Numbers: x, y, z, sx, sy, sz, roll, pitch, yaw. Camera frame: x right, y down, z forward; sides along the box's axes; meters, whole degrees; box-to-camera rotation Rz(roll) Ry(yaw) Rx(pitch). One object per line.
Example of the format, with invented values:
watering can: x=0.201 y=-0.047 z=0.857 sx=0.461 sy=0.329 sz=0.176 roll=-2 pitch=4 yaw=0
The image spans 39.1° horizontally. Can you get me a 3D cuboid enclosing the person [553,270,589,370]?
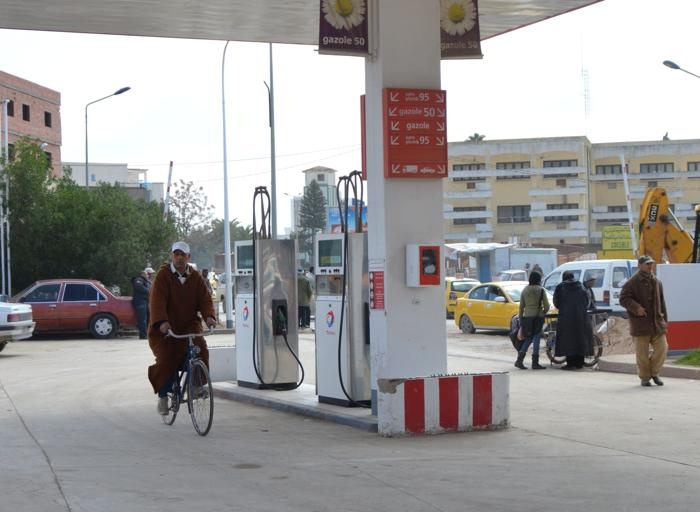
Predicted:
person: x=4.686 y=1.386 z=21.030 sx=0.684 sy=1.990 sz=0.837 roll=1 pitch=3 yaw=7

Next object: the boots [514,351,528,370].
boots: x=3.673 y=2.258 z=21.056 sx=0.241 sy=0.328 sz=0.653 roll=-1 pitch=-1 yaw=8

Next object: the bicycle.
bicycle: x=-2.165 y=1.793 z=14.303 sx=0.757 sy=1.584 sz=1.192 roll=2 pitch=-1 yaw=-17

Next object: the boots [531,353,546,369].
boots: x=4.065 y=2.283 z=20.898 sx=0.397 sy=0.415 sz=0.202 roll=-2 pitch=3 yaw=-21

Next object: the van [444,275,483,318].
van: x=4.011 y=1.579 z=34.825 sx=1.310 sy=1.252 sz=2.382 roll=0 pitch=4 yaw=5

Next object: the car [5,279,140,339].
car: x=-8.628 y=1.422 z=31.477 sx=4.758 sy=1.727 sz=3.898 roll=3 pitch=5 yaw=-10

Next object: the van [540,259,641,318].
van: x=6.955 y=0.651 z=28.108 sx=1.730 sy=1.631 sz=2.970 roll=-1 pitch=5 yaw=-20

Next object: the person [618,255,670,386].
person: x=5.408 y=1.201 z=17.990 sx=0.764 sy=2.317 sz=0.678 roll=-1 pitch=0 yaw=18

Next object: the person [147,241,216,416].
person: x=-2.558 y=0.999 z=14.727 sx=1.032 sy=2.584 sz=0.967 roll=1 pitch=2 yaw=-32

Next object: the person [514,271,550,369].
person: x=3.950 y=1.402 z=21.136 sx=0.783 sy=2.066 sz=0.671 roll=0 pitch=3 yaw=4
